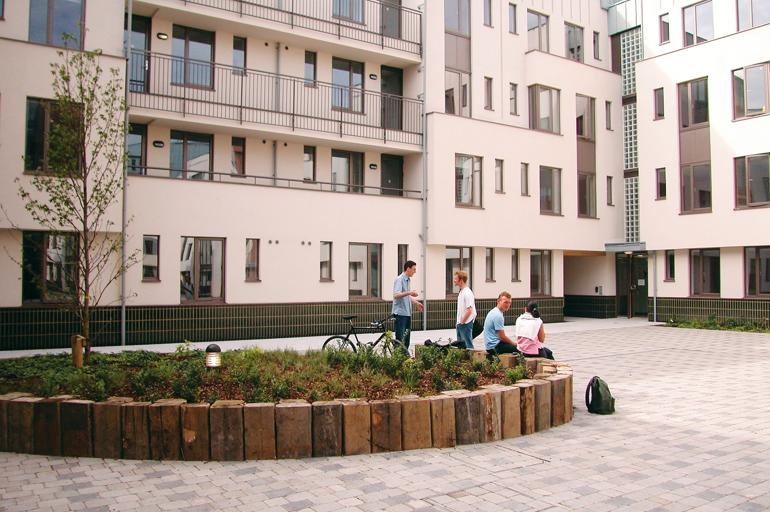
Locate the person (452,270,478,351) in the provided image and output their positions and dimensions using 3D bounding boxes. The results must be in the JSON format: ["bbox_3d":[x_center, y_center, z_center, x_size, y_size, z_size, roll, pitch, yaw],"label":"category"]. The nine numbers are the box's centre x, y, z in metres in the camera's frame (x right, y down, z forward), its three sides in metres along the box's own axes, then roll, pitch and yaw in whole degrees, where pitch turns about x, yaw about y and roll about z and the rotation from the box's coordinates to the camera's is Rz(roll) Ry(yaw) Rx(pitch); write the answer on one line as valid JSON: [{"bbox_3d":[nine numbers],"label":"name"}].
[{"bbox_3d":[1.911,1.314,18.231,0.507,1.269,0.426,3,2,5],"label":"person"}]

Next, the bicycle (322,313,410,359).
[{"bbox_3d":[-0.509,2.045,18.237,2.136,1.493,1.146,-1,-7,2],"label":"bicycle"}]

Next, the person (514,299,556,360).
[{"bbox_3d":[3.401,1.793,17.497,0.569,1.702,1.176,7,22,22],"label":"person"}]
